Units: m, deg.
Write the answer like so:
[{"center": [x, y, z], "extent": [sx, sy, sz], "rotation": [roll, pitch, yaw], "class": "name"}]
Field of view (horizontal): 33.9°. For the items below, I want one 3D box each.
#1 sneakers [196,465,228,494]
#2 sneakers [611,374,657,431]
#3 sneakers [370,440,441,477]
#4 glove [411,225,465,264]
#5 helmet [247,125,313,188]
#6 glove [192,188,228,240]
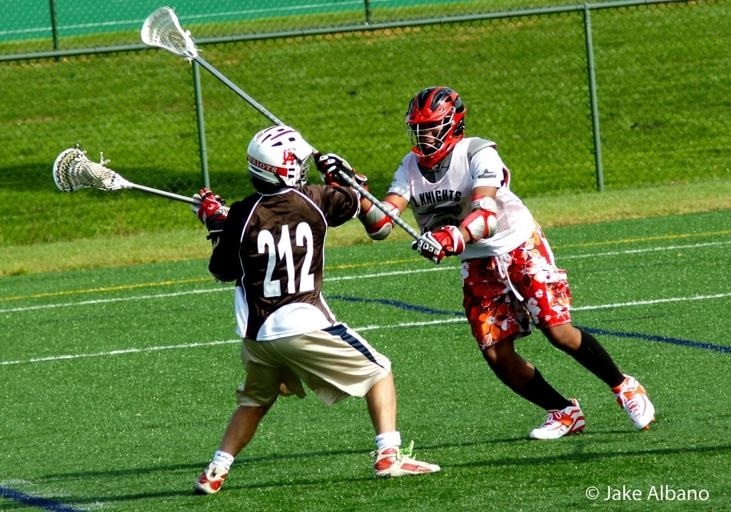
[{"center": [-1.255, 1.832, 9.760], "extent": [0.162, 0.139, 0.316], "rotation": [32, 31, 7], "class": "sneakers"}, {"center": [2.283, 1.252, 10.309], "extent": [0.305, 0.205, 0.561], "rotation": [26, 24, -42], "class": "sneakers"}, {"center": [0.296, 1.679, 9.931], "extent": [0.650, 0.275, 0.216], "rotation": [-3, 1, -9], "class": "sneakers"}, {"center": [0.602, -0.123, 10.000], "extent": [0.340, 0.159, 0.328], "rotation": [-22, 4, -10], "class": "glove"}, {"center": [-0.663, -0.811, 9.866], "extent": [0.551, 0.402, 0.419], "rotation": [-17, 36, -34], "class": "helmet"}, {"center": [-1.256, -0.360, 9.962], "extent": [0.170, 0.285, 0.421], "rotation": [-11, 62, -54], "class": "glove"}]
